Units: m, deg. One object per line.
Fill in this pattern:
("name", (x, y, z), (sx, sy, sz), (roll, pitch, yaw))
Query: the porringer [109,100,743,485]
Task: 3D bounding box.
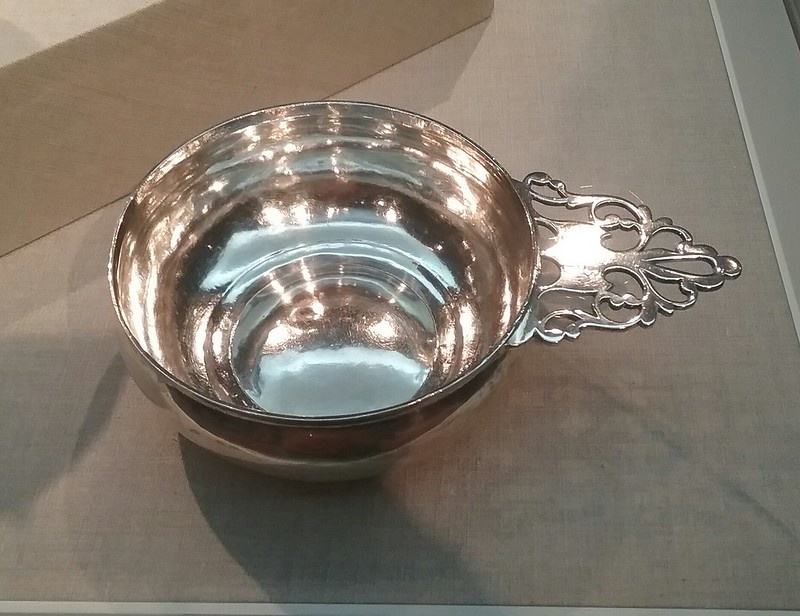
("porringer", (-0.084, -0.025, 0.981), (0.463, 0.245, 0.458), (-3, 64, -10))
